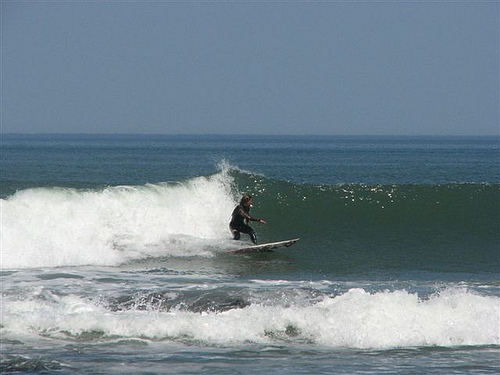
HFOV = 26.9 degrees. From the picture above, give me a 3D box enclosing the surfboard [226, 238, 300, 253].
[{"bbox_3d":[0.315,1.648,29.768,1.471,0.224,0.139,-7,45,-19],"label":"surfboard"}]
